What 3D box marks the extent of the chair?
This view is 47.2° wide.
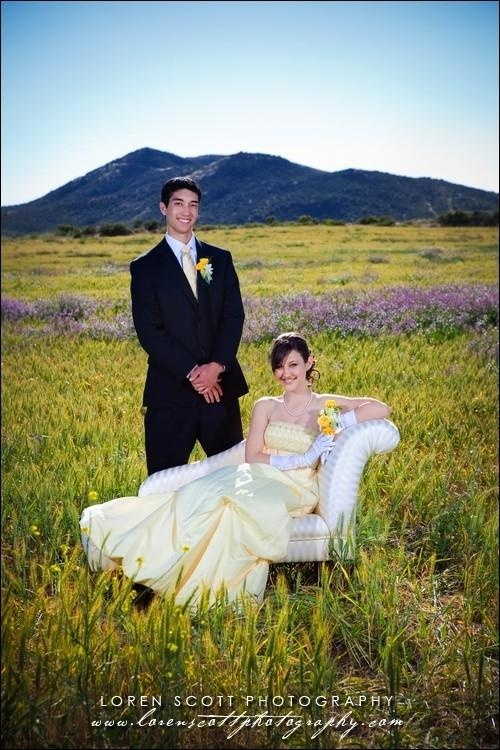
[{"bbox_3d":[0.371,0.527,2.930,1.229,0.627,0.687,-8,-13,24],"label":"chair"}]

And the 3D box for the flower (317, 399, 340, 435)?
[{"bbox_3d":[0.351,0.188,2.660,0.134,0.139,0.092,-14,5,-1],"label":"flower"}]

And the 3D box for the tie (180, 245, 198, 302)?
[{"bbox_3d":[-0.313,-0.519,2.974,0.057,0.300,0.042,-11,4,-11],"label":"tie"}]

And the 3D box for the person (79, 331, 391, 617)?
[{"bbox_3d":[-0.008,0.309,2.907,0.982,1.025,1.552,10,11,43],"label":"person"}]

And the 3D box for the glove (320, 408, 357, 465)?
[{"bbox_3d":[0.399,0.257,2.617,0.181,0.129,0.216,-2,2,13],"label":"glove"}]

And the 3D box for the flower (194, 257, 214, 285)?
[{"bbox_3d":[-0.228,-0.537,2.951,0.103,0.111,0.044,-19,12,32],"label":"flower"}]
